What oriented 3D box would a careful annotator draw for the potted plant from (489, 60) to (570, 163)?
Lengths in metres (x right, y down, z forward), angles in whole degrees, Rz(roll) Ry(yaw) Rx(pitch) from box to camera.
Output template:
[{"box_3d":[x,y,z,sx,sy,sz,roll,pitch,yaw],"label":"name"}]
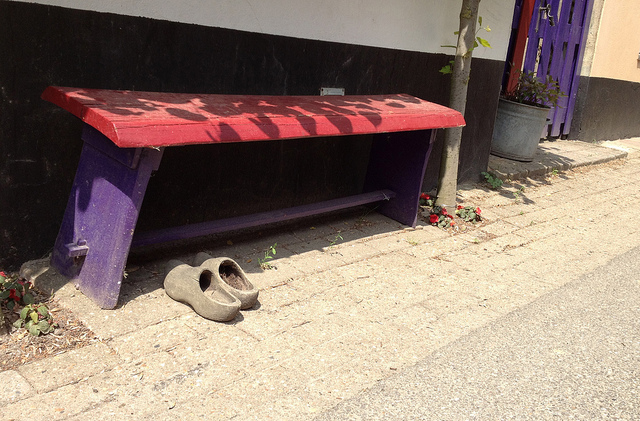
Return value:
[{"box_3d":[4.458,-2.117,9.830,1.688,1.715,1.366,-4,21,-44],"label":"potted plant"}]
